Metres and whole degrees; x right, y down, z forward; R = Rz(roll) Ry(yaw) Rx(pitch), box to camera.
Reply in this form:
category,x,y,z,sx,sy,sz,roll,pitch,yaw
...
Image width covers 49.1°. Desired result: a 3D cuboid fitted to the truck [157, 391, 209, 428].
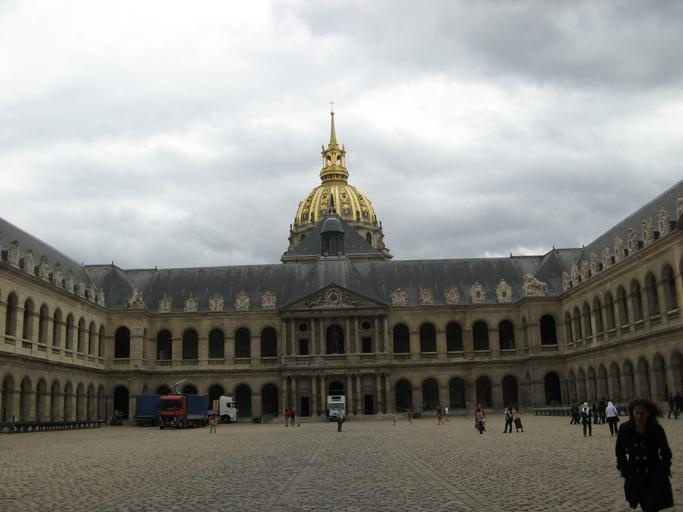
category,x,y,z,sx,sy,sz,roll,pitch,yaw
truck,-16.441,16.185,77.279,2.298,2.773,6.557,-6,-21,10
